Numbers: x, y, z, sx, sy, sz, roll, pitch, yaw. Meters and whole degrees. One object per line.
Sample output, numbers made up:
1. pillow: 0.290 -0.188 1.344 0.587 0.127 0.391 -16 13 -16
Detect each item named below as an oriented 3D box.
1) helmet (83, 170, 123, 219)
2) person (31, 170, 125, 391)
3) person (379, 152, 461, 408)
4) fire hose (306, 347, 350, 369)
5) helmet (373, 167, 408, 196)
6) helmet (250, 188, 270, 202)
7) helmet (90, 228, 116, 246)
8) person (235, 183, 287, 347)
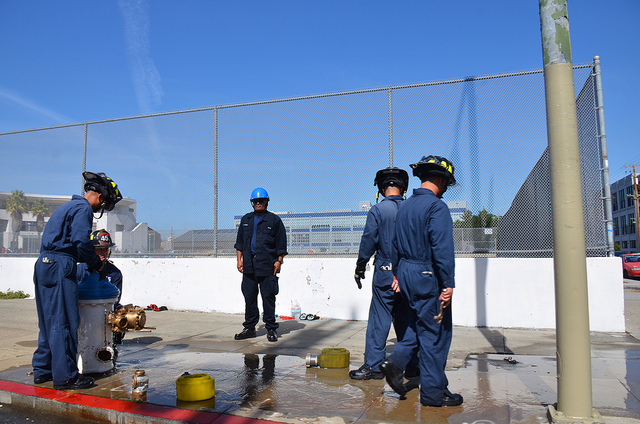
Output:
1. helmet: -3.073 -0.223 7.928 0.580 0.600 0.487 22 -16 -14
2. person: -3.326 0.867 7.501 0.826 2.753 0.862 0 5 2
3. person: 1.324 0.831 7.094 0.875 3.028 0.686 1 5 14
4. fire hose: 0.123 2.099 8.082 0.394 0.174 0.308 0 -5 12
5. helmet: 0.997 -0.492 7.994 0.359 0.503 0.384 1 23 9
6. helmet: -1.081 -0.298 10.075 0.314 0.235 0.288 -2 5 -13
7. helmet: -3.569 0.445 9.290 0.391 0.308 0.538 5 -11 -41
8. person: -1.037 0.891 9.847 0.978 2.580 0.871 2 5 23
